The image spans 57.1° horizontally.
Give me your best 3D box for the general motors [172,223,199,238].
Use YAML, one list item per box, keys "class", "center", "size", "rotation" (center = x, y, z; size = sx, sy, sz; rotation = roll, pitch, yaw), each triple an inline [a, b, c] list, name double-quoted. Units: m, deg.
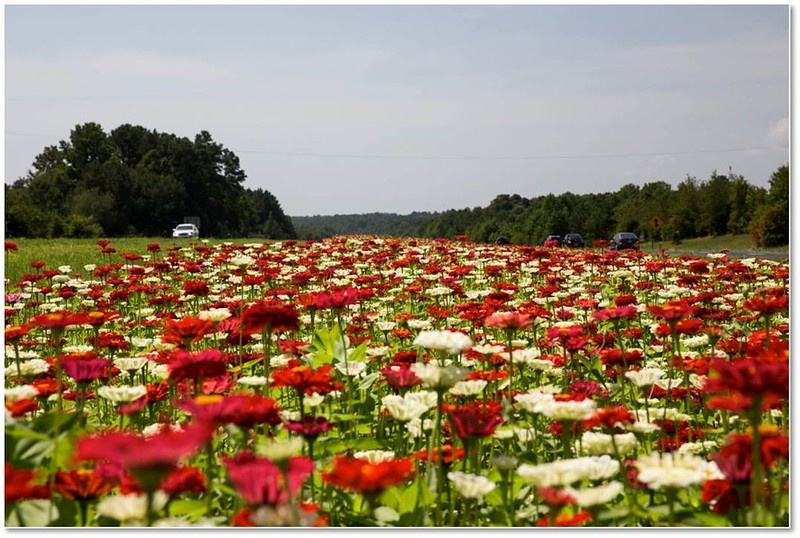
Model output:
- class: "general motors"
  center: [-9.810, -1.748, 33.506]
  size: [1.034, 0.928, 2.380]
  rotation: [-1, 1, -10]
